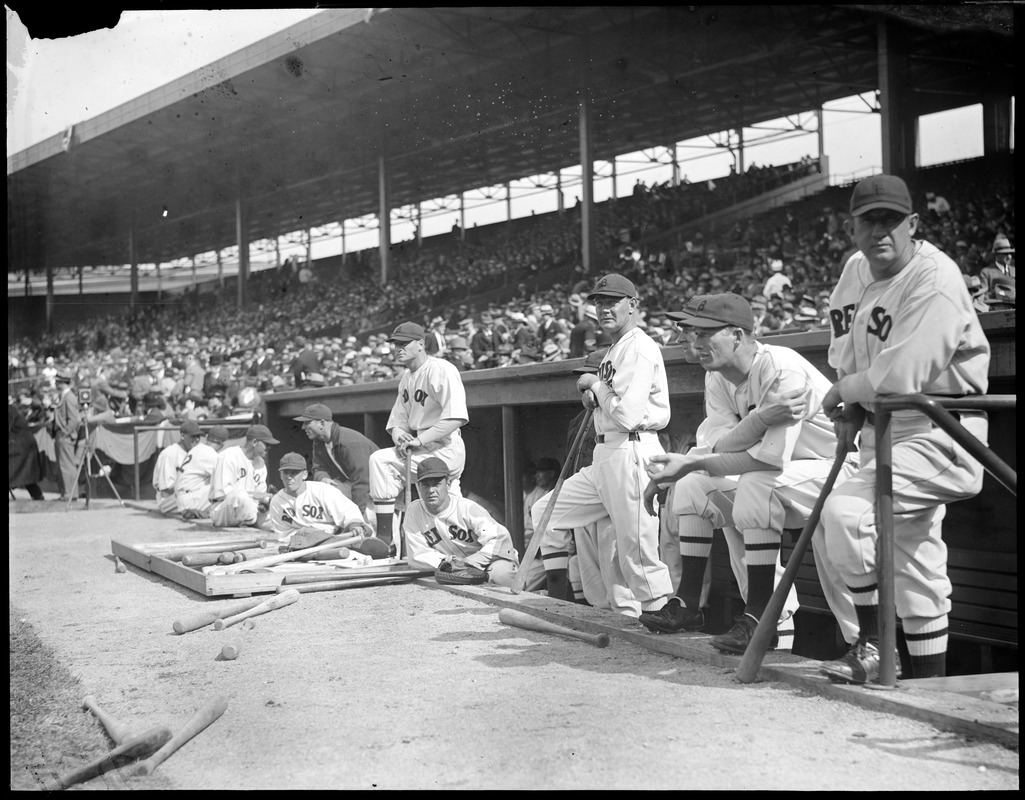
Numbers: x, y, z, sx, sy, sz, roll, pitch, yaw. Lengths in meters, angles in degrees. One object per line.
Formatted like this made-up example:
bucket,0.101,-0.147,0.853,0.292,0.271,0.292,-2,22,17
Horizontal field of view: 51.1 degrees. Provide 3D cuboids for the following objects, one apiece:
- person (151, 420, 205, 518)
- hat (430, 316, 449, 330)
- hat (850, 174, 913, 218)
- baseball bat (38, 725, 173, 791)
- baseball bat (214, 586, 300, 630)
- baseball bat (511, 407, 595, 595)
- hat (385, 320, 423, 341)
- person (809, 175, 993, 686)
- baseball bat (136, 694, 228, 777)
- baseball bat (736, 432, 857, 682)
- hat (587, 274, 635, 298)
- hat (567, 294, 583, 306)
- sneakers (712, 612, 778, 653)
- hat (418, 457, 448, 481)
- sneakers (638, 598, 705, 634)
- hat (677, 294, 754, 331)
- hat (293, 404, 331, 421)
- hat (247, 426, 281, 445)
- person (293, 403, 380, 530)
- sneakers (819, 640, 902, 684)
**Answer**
person,-4.873,0.964,15.947,0.866,1.368,0.754,3,4,-19
hat,-1.593,-1.663,23.234,0.442,0.165,0.415,1,15,42
hat,2.068,-1.162,6.064,0.341,0.244,0.270,-7,8,-23
baseball bat,-2.052,1.844,5.499,0.660,0.079,0.195,-22,-2,-13
baseball bat,-1.916,1.594,8.262,0.146,0.139,0.992,-42,-15,25
baseball bat,0.348,0.934,9.678,0.137,1.740,0.166,24,3,-31
hat,-1.024,-0.715,10.819,0.208,0.167,0.292,-9,-17,43
person,2.139,0.178,6.183,1.002,2.924,0.805,-7,9,-21
baseball bat,-1.745,1.788,5.708,0.095,0.097,0.662,7,12,19
baseball bat,1.718,0.914,6.574,0.198,1.779,0.153,28,-1,-31
hat,0.749,-0.835,8.013,0.274,0.141,0.196,23,-16,-37
hat,1.045,-1.670,18.082,0.310,0.096,0.316,10,20,11
sneakers,1.456,1.452,6.619,0.502,0.242,0.180,5,-13,-28
hat,-0.732,0.622,9.672,0.276,0.203,0.228,-5,8,-7
sneakers,1.061,1.442,7.178,0.489,0.222,0.174,4,-9,-19
hat,1.320,-0.559,6.891,0.351,0.184,0.259,5,0,-5
hat,-2.235,0.138,11.984,0.332,0.196,0.242,9,0,0
hat,-3.347,0.451,14.386,0.381,0.209,0.249,6,-2,-22
person,-1.865,0.510,11.262,1.036,1.125,0.831,11,11,29
sneakers,1.938,1.480,6.027,0.392,0.194,0.145,2,-10,-12
